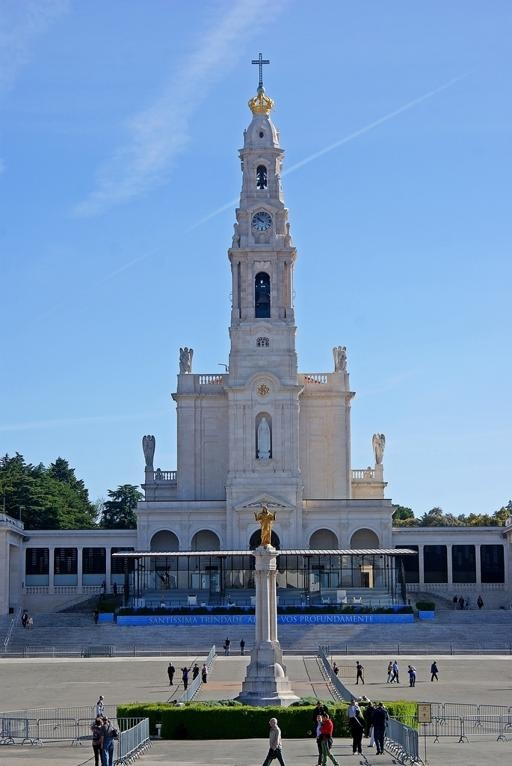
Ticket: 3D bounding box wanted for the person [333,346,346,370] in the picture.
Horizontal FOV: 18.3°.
[{"bbox_3d":[5.306,-1.427,99.927,0.656,1.643,0.714,0,-12,-5],"label":"person"}]
